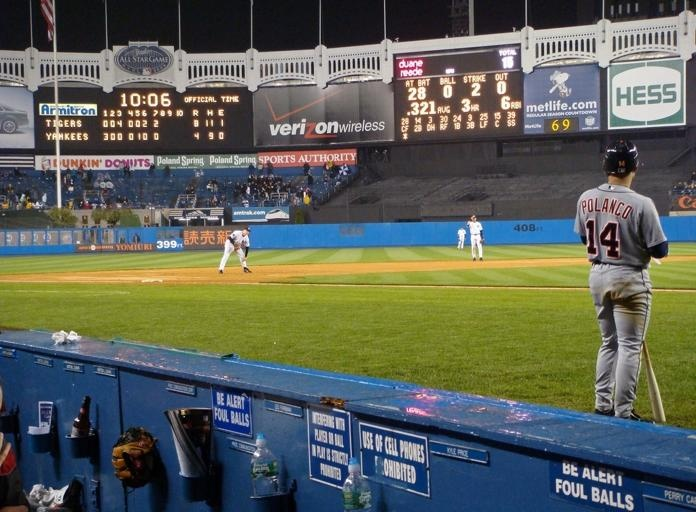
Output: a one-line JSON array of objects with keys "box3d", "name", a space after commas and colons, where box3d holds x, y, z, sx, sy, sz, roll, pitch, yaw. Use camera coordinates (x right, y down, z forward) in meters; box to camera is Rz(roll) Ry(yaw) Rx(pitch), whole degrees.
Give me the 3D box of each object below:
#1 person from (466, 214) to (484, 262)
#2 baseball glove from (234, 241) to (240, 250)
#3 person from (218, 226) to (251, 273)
[{"box3d": [4.841, -0.713, 38.364, 0.751, 1.617, 0.438, 0, -7, -25], "name": "person"}, {"box3d": [-3.793, -0.374, 34.735, 0.245, 0.291, 0.272, -2, 4, -3], "name": "baseball glove"}, {"box3d": [-3.944, -0.174, 35.086, 1.081, 1.552, 1.805, -3, 4, -7], "name": "person"}]
